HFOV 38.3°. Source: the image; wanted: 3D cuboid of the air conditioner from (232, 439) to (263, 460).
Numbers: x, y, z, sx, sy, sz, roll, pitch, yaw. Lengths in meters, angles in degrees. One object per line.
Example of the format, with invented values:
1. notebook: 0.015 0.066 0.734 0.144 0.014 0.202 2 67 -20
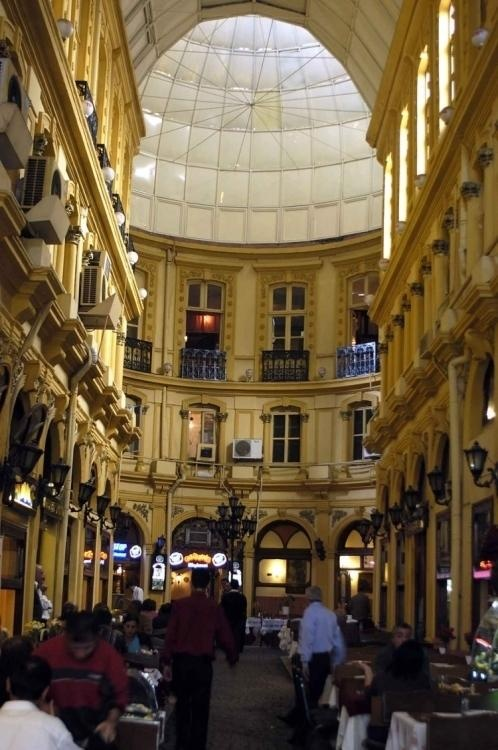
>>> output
1. air conditioner: -0.047 3.378 32.236 1.271 1.057 0.856 1 -13 -5

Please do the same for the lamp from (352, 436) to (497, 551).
1. lamp: 3.952 2.697 15.489 0.842 1.710 4.490 15 -25 -11

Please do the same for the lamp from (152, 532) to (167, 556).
1. lamp: -3.787 7.316 30.525 0.551 0.917 0.511 10 -17 -21

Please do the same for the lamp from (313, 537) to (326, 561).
1. lamp: 3.101 7.607 31.017 0.503 0.842 0.790 2 -16 5
